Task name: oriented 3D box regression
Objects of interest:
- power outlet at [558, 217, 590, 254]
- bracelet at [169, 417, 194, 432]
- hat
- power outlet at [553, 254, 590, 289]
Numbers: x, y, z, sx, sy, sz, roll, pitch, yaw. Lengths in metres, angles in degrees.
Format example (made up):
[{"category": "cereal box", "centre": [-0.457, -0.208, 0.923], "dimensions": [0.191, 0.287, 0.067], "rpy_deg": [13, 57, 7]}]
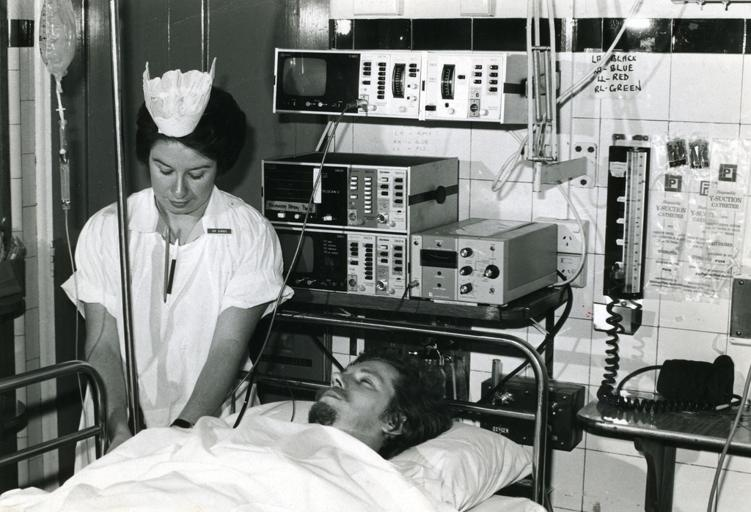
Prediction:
[{"category": "power outlet", "centre": [0.924, -0.098, 3.884], "dimensions": [0.145, 0.141, 0.083], "rpy_deg": [6, 5, 43]}, {"category": "bracelet", "centre": [-0.727, 0.638, 3.143], "dimensions": [0.051, 0.044, 0.060], "rpy_deg": [0, 6, -3]}, {"category": "hat", "centre": [-0.743, -0.611, 3.131], "dimensions": [0.246, 0.302, 0.300], "rpy_deg": [2, 13, 1]}, {"category": "power outlet", "centre": [0.915, 0.059, 3.851], "dimensions": [0.147, 0.164, 0.078], "rpy_deg": [5, 8, 12]}]
